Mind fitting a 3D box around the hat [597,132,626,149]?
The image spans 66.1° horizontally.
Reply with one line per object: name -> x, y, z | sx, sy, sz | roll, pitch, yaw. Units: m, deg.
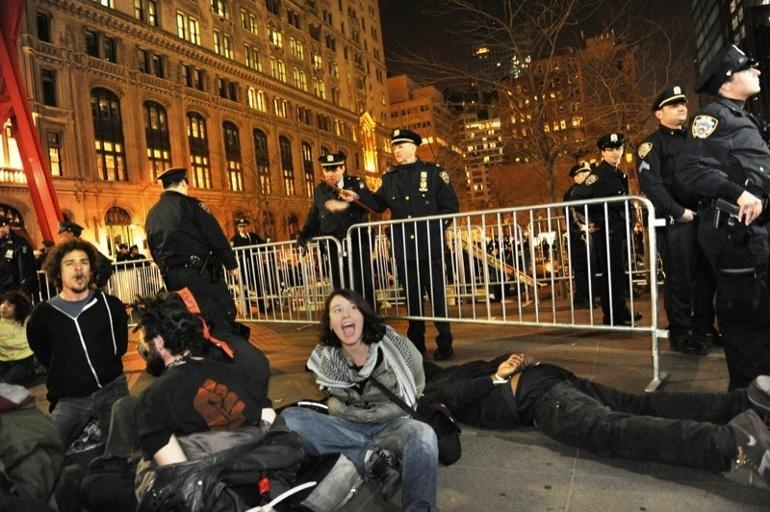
hat -> 3.673, -1.869, 9.700 | 0.365, 0.149, 0.392 | -4, 3, -4

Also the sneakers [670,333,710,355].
sneakers -> 3.735, 1.083, 7.297 | 0.226, 0.191, 0.408 | -1, -3, -30

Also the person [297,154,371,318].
person -> -0.643, -0.308, 9.260 | 1.037, 2.570, 0.948 | -6, 21, 12

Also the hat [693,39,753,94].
hat -> 3.469, -1.946, 6.124 | 0.554, 0.318, 0.481 | -27, 5, 26

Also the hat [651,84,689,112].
hat -> 3.618, -2.031, 7.600 | 0.332, 0.150, 0.360 | -7, 8, -19

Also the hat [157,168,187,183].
hat -> -2.792, -1.066, 7.785 | 0.319, 0.115, 0.261 | -9, 9, -20

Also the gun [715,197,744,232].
gun -> 3.415, -0.424, 5.862 | 0.144, 0.312, 0.347 | 1, 4, -34

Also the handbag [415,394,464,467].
handbag -> 0.536, 1.598, 5.398 | 0.235, 0.565, 0.414 | -19, -12, -3

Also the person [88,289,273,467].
person -> -1.927, 1.138, 5.469 | 1.201, 1.620, 1.150 | 24, 26, 31
